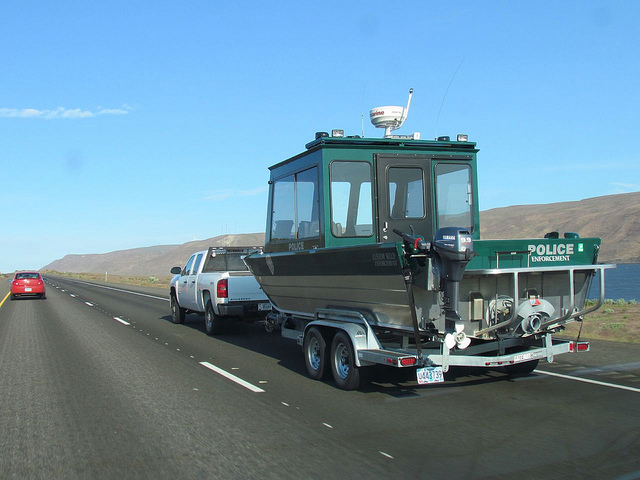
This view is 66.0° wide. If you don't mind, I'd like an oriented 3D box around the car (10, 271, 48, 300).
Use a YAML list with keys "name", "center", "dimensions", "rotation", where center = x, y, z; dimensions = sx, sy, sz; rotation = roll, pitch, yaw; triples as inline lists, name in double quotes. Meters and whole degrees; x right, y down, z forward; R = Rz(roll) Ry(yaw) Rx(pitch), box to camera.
- name: "car"
  center: [-18.951, 2.926, 31.908]
  dimensions: [1.883, 1.788, 1.890]
  rotation: [0, -3, -31]

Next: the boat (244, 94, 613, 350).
- name: "boat"
  center: [1.380, -0.141, 9.922]
  dimensions: [3.589, 3.379, 8.109]
  rotation: [0, 3, -26]

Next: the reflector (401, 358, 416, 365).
- name: "reflector"
  center: [1.290, 1.750, 7.115]
  dimensions: [0.208, 0.092, 0.037]
  rotation: [-2, -3, 7]

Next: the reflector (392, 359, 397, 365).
- name: "reflector"
  center: [1.097, 1.774, 7.187]
  dimensions: [0.051, 0.035, 0.079]
  rotation: [1, -4, -20]

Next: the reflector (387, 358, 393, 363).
- name: "reflector"
  center: [1.040, 1.772, 7.273]
  dimensions: [0.082, 0.033, 0.135]
  rotation: [2, -5, 11]

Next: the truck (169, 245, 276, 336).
- name: "truck"
  center: [-2.826, 1.374, 15.132]
  dimensions: [2.309, 1.813, 4.518]
  rotation: [1, 3, -32]

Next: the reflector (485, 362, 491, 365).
- name: "reflector"
  center: [2.512, 1.837, 7.335]
  dimensions: [0.051, 0.023, 0.048]
  rotation: [0, -3, 15]

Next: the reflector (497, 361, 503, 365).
- name: "reflector"
  center: [2.742, 1.851, 7.438]
  dimensions: [0.049, 0.024, 0.064]
  rotation: [1, -2, -1]
